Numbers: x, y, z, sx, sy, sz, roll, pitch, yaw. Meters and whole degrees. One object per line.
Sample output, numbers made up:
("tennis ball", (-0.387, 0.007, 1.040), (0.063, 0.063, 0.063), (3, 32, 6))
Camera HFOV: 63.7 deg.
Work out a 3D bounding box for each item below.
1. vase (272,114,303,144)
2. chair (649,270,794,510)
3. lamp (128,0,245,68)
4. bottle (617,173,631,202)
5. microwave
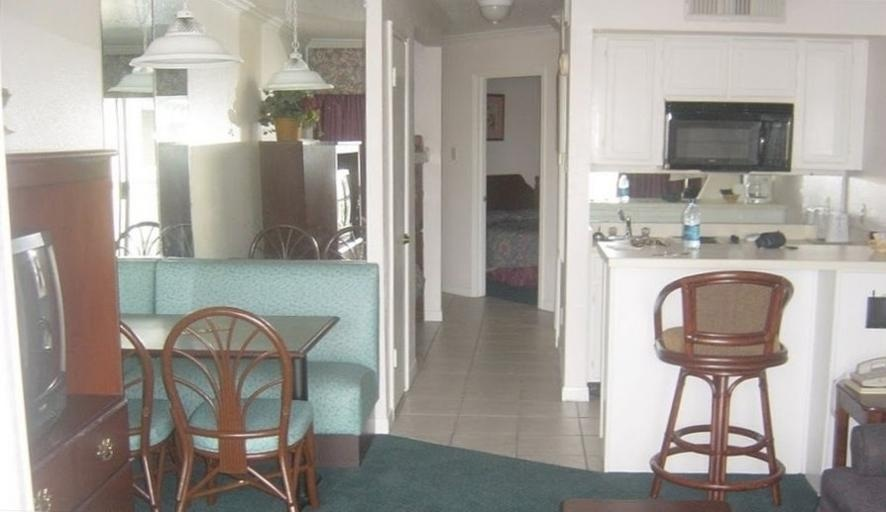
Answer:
("vase", (-1.048, -0.864, 4.826), (0.166, 0.109, 0.157), (3, 9, 12))
("chair", (1.606, 0.763, 4.150), (0.788, 1.430, 0.533), (2, 8, 10))
("lamp", (-1.669, -1.464, 4.552), (0.719, 0.460, 0.584), (-1, 8, -12))
("bottle", (1.496, -0.568, 5.945), (0.104, 0.238, 0.019), (1, 9, 7))
("microwave", (2.257, -0.933, 5.559), (0.970, 0.545, 0.578), (2, 6, 7))
